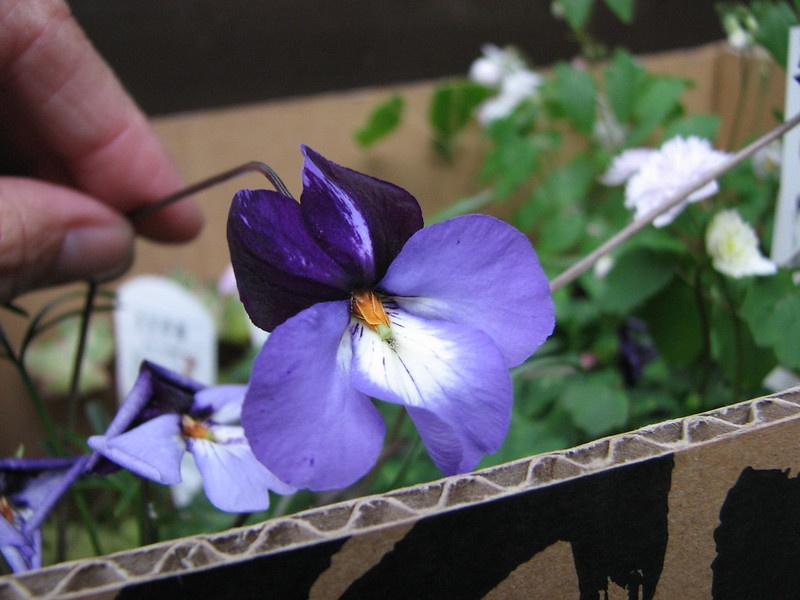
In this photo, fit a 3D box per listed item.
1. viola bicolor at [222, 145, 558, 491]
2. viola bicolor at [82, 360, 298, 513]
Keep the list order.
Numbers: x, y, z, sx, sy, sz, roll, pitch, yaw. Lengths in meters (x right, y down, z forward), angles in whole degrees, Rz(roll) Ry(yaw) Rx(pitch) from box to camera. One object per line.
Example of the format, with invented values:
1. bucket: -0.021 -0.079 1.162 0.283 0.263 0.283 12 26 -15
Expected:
1. viola bicolor: -0.012 0.006 0.958 0.257 0.240 0.143 -22 32 5
2. viola bicolor: -0.174 0.102 1.019 0.057 0.139 0.158 -39 39 43
